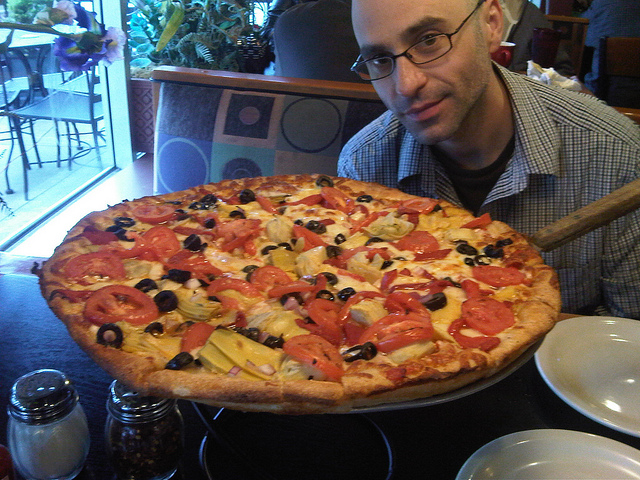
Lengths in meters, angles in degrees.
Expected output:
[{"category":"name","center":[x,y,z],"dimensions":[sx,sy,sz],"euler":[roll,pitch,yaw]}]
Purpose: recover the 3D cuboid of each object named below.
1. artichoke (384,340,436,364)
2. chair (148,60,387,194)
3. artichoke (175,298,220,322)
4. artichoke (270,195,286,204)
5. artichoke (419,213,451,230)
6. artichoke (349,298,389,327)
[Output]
[{"category":"artichoke","center":[0.300,0.355,1.597],"dimensions":[0.181,0.052,0.049],"euler":[-6,21,-17]},{"category":"chair","center":[-0.804,-0.819,4.458],"dimensions":[2.065,0.963,1.061],"euler":[-3,10,-38]},{"category":"artichoke","center":[-0.432,0.245,1.746],"dimensions":[0.138,0.024,0.084],"euler":[4,23,-11]},{"category":"artichoke","center":[-0.220,-0.207,2.568],"dimensions":[0.062,0.028,0.054],"euler":[-11,14,-33]},{"category":"artichoke","center":[0.540,-0.086,2.360],"dimensions":[0.151,0.034,0.083],"euler":[9,35,22]},{"category":"artichoke","center":[0.177,0.250,1.727],"dimensions":[0.119,0.068,0.164],"euler":[7,18,24]}]
